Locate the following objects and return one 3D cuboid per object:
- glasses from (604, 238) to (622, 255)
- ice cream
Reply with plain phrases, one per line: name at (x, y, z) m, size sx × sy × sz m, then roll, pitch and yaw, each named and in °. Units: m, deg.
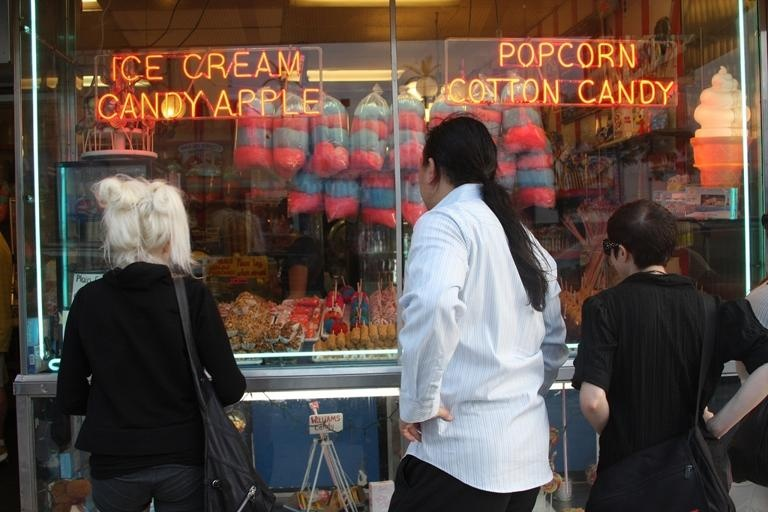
glasses at (1.098, -0.045, 3.876) m, size 0.056 × 0.063 × 0.070 m, roll 6°, pitch -13°, yaw -25°
ice cream at (2.123, -0.793, 5.046) m, size 0.312 × 0.758 × 0.306 m, roll -1°, pitch 9°, yaw 21°
